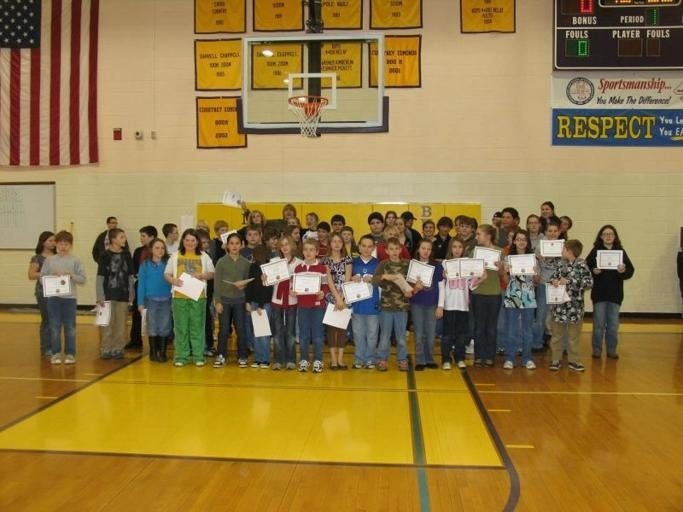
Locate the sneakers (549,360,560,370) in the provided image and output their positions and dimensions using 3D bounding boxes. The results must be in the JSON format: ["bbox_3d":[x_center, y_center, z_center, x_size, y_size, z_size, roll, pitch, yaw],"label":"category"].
[{"bbox_3d":[3.046,1.543,10.540,0.147,0.125,0.209,0,3,16],"label":"sneakers"}]

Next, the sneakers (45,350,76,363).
[{"bbox_3d":[-4.043,1.503,10.763,0.177,0.194,0.467,-11,-22,27],"label":"sneakers"}]

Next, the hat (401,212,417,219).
[{"bbox_3d":[1.138,-0.702,12.669,0.204,0.121,0.152,-5,10,-29],"label":"hat"}]

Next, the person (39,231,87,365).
[{"bbox_3d":[-4.094,0.587,10.926,0.585,1.922,0.684,-2,3,-22],"label":"person"}]

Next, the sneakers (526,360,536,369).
[{"bbox_3d":[2.727,1.543,10.645,0.140,0.109,0.323,0,3,16],"label":"sneakers"}]

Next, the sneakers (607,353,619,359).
[{"bbox_3d":[4.113,1.509,11.190,0.070,0.063,0.137,-2,-5,-40],"label":"sneakers"}]

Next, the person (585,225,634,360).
[{"bbox_3d":[4.070,0.530,11.253,0.660,1.995,0.530,1,3,19],"label":"person"}]

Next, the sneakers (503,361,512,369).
[{"bbox_3d":[2.385,1.546,10.559,0.131,0.106,0.188,0,3,14],"label":"sneakers"}]

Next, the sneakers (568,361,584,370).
[{"bbox_3d":[3.338,1.565,10.544,0.085,0.097,0.231,0,21,-44],"label":"sneakers"}]

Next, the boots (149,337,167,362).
[{"bbox_3d":[-2.692,1.352,10.934,0.269,0.373,0.286,-1,3,-5],"label":"boots"}]

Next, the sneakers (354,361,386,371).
[{"bbox_3d":[0.419,1.545,10.501,0.484,0.111,0.144,0,3,15],"label":"sneakers"}]

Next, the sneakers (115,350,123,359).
[{"bbox_3d":[-3.302,1.464,11.063,0.092,0.104,0.155,2,4,43],"label":"sneakers"}]
